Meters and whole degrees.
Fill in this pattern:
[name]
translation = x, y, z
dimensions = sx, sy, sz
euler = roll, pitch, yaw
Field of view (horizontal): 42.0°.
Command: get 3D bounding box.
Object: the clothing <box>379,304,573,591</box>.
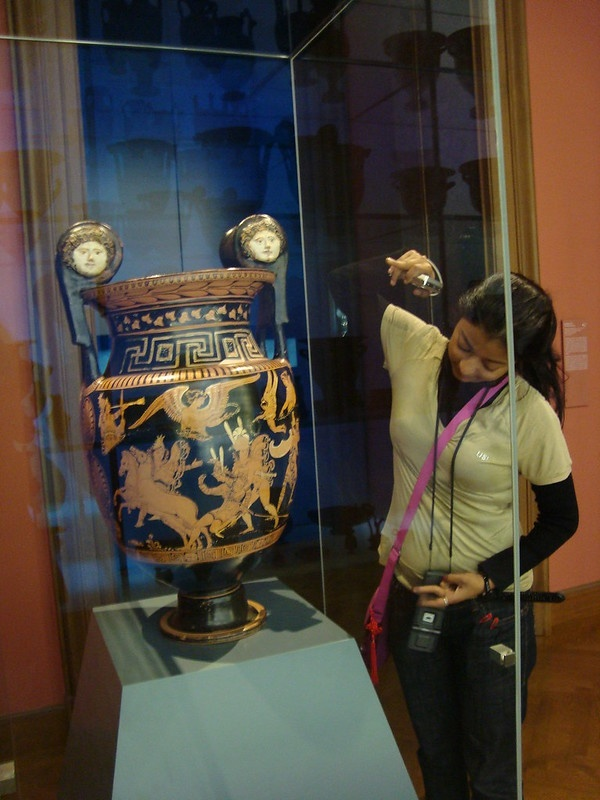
[clothing]
translation = 0.262, 0.075, 1.056
dimensions = 0.299, 0.430, 0.157
euler = -14, 14, -27

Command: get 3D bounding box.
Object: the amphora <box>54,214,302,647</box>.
[amphora]
translation = -0.176, 0.035, 1.085
dimensions = 0.357, 0.539, 0.340
euler = 0, 7, 30
